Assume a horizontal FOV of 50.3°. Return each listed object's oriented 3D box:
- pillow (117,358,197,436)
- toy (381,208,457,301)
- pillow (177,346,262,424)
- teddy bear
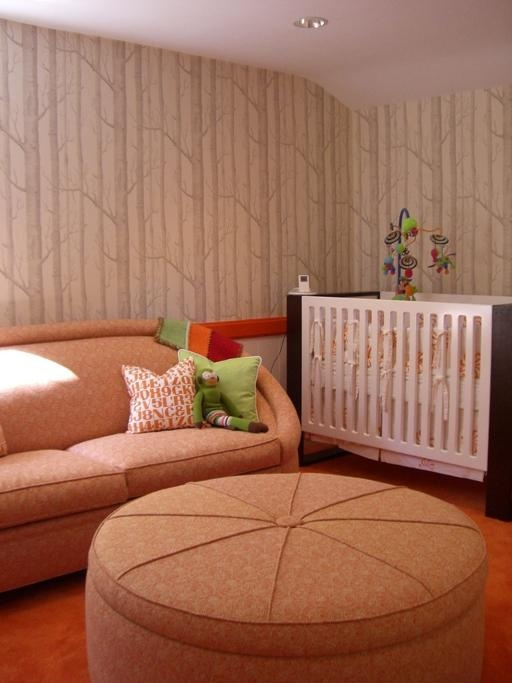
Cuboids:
[{"bbox_3d":[-0.420,0.249,2.313,0.268,0.286,0.105,-4,-34,-11],"label":"pillow"},{"bbox_3d":[0.979,-0.554,3.278,0.418,0.574,0.865,-1,7,14],"label":"toy"},{"bbox_3d":[-0.168,0.208,2.433,0.288,0.295,0.114,1,-26,-2],"label":"pillow"},{"bbox_3d":[-0.124,0.244,2.335,0.356,0.280,0.216,6,4,37],"label":"teddy bear"}]
